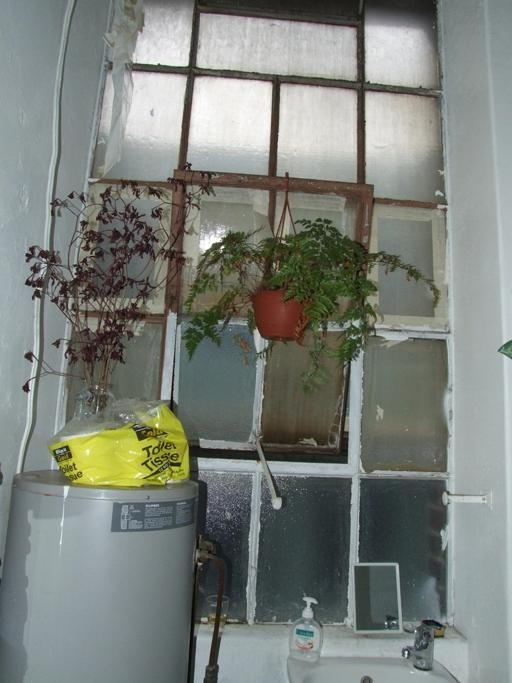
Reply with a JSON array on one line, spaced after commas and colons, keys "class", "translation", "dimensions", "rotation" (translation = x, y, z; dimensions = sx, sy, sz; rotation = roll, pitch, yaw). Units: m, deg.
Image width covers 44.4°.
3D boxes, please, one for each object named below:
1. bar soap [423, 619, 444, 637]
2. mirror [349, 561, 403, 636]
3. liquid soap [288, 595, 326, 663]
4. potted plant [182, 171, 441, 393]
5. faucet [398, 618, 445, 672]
[{"class": "bar soap", "translation": [0.530, 0.847, 1.859], "dimensions": [0.059, 0.042, 0.089], "rotation": [0, -12, 0]}, {"class": "mirror", "translation": [0.375, 0.812, 1.967], "dimensions": [0.198, 0.241, 0.018], "rotation": [2, -20, -4]}, {"class": "liquid soap", "translation": [0.149, 0.842, 1.850], "dimensions": [0.099, 0.165, 0.087], "rotation": [5, -4, 7]}, {"class": "potted plant", "translation": [0.114, -0.147, 2.063], "dimensions": [0.565, 0.432, 0.864], "rotation": [4, 7, 13]}, {"class": "faucet", "translation": [0.462, 0.860, 1.826], "dimensions": [0.079, 0.156, 0.091], "rotation": [-4, 18, -8]}]
